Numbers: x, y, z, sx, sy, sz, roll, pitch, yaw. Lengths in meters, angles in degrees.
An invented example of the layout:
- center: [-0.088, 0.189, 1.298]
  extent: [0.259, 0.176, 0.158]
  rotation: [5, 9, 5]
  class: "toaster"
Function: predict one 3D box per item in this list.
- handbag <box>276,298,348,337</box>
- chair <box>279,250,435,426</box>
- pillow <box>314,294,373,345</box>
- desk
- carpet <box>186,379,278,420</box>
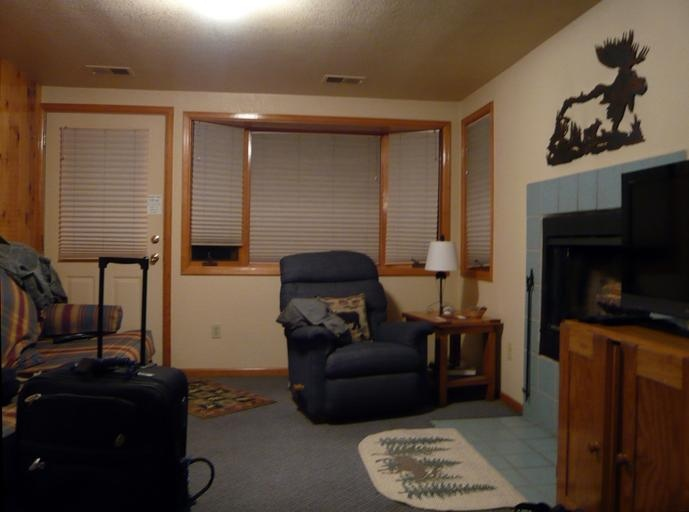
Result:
- center: [-0.254, 0.447, 3.996]
  extent: [0.317, 0.147, 0.365]
  rotation: [4, 7, -20]
  class: "handbag"
- center: [0.024, 0.580, 4.327]
  extent: [1.079, 1.281, 1.283]
  rotation: [0, -1, -26]
  class: "chair"
- center: [-0.024, 0.493, 4.093]
  extent: [0.347, 0.341, 0.116]
  rotation: [2, -28, -34]
  class: "pillow"
- center: [0.918, 0.722, 4.528]
  extent: [0.591, 0.735, 1.024]
  rotation: [-1, 4, -14]
  class: "desk"
- center: [-1.005, 1.117, 4.253]
  extent: [0.647, 0.053, 0.832]
  rotation: [-5, 9, -34]
  class: "carpet"
